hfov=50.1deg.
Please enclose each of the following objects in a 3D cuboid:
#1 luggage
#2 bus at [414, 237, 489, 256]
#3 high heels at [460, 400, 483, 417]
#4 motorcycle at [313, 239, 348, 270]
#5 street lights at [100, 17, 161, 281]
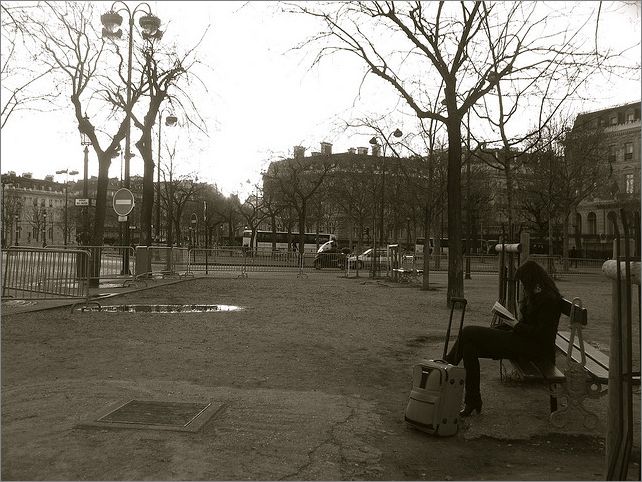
[{"bbox_3d":[1.167,1.205,7.152,0.758,1.341,0.796,3,5,7],"label":"luggage"},{"bbox_3d":[9.769,0.386,50.096,5.262,1.677,1.676,0,4,-2],"label":"bus"},{"bbox_3d":[1.602,1.799,7.386,0.308,0.149,0.117,1,-3,-22],"label":"high heels"},{"bbox_3d":[1.048,0.869,39.596,2.259,1.343,1.427,1,-1,-18],"label":"motorcycle"},{"bbox_3d":[-6.384,-2.481,23.515,0.527,8.776,0.909,1,5,-19],"label":"street lights"}]
